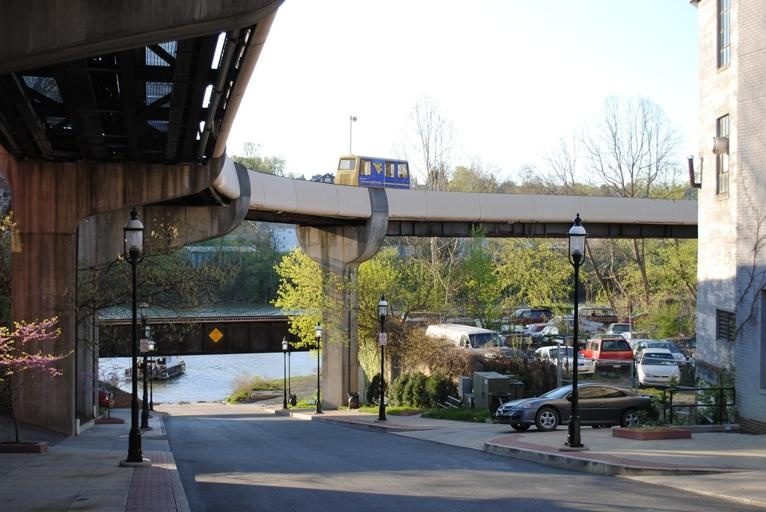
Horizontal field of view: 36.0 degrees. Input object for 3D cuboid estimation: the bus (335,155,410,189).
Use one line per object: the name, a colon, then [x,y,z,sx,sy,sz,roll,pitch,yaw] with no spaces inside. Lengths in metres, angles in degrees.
bus: [-0.525,-4.300,65.160,3.771,2.252,1.878,1,2,-38]

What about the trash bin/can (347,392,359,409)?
trash bin/can: [-1.755,8.103,65.599,0.715,0.925,1.758,2,1,-1]

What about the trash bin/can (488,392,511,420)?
trash bin/can: [4.977,6.641,51.937,1.007,1.439,1.047,1,0,11]
